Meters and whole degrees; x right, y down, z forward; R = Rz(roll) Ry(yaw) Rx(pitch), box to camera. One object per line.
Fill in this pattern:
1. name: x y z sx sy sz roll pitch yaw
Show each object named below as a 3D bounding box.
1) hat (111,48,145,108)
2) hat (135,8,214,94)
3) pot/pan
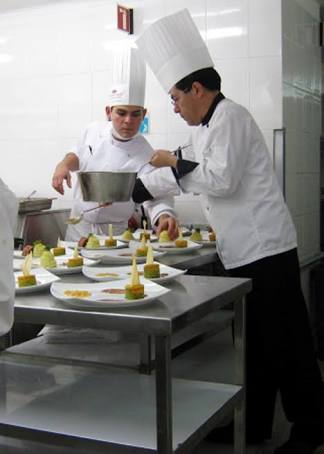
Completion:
1. hat: -0.209 -0.916 2.344 0.233 0.346 0.229 1 8 4
2. hat: 0.075 -0.770 1.692 0.275 0.268 0.315 -19 9 36
3. pot/pan: -0.118 -0.166 1.463 0.251 0.139 0.389 -3 1 41
